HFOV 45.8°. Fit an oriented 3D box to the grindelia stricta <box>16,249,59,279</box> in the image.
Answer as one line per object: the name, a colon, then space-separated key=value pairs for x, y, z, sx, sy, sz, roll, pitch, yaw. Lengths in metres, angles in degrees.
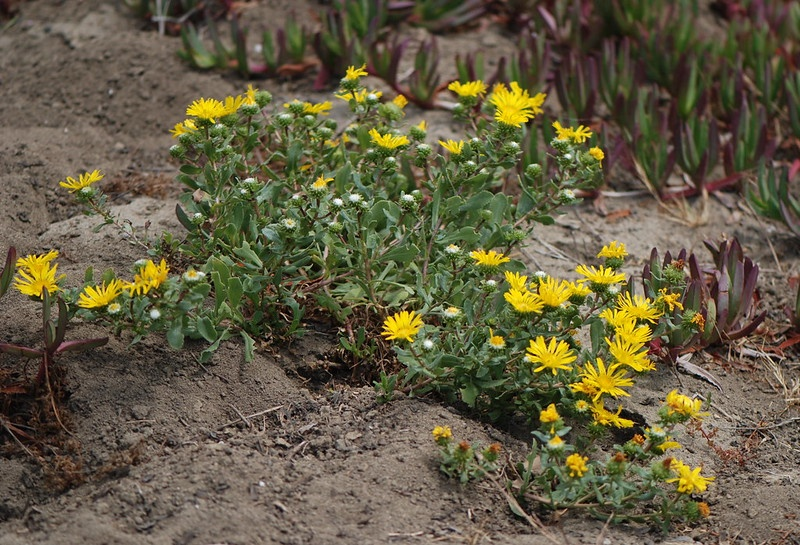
grindelia stricta: x=-1.710 y=-0.060 z=4.476 sx=0.189 sy=0.088 sz=0.190 roll=-34 pitch=21 yaw=-25

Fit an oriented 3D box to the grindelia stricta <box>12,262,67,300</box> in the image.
grindelia stricta: x=-1.693 y=0.044 z=4.408 sx=0.204 sy=0.157 sz=0.188 roll=-7 pitch=34 yaw=-5

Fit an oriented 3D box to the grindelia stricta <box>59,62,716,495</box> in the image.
grindelia stricta: x=-0.015 y=-0.131 z=4.678 sx=2.648 sy=1.488 sz=1.642 roll=6 pitch=35 yaw=13
